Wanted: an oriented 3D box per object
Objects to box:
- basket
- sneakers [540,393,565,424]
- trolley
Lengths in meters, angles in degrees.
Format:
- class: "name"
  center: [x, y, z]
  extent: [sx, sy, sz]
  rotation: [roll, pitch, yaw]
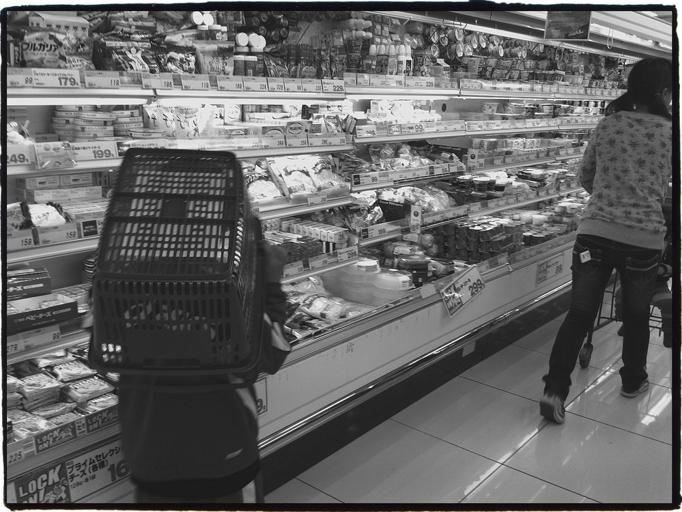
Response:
- class: "basket"
  center: [-0.418, -0.019, 1.416]
  extent: [0.516, 0.399, 0.642]
  rotation: [1, 45, -6]
- class: "sneakers"
  center: [1.313, 0.950, 2.881]
  extent: [0.103, 0.168, 0.179]
  rotation: [-8, 10, 32]
- class: "trolley"
  center: [2.038, 0.446, 3.317]
  extent: [0.490, 0.724, 0.782]
  rotation: [15, 39, 33]
